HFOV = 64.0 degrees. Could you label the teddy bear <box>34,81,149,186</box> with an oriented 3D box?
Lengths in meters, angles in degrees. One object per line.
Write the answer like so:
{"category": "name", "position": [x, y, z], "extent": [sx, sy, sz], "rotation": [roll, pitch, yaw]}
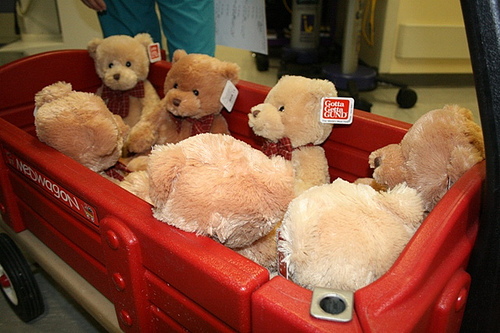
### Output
{"category": "teddy bear", "position": [-0.607, -0.126, 1.564], "extent": [0.383, 0.344, 0.306], "rotation": [-11, 31, -25]}

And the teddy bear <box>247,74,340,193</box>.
{"category": "teddy bear", "position": [0.157, -0.122, 1.522], "extent": [0.326, 0.461, 0.375], "rotation": [-12, 26, -26]}

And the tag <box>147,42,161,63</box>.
{"category": "tag", "position": [-0.448, -0.533, 1.863], "extent": [0.011, 0.084, 0.083], "rotation": [1, 19, 32]}

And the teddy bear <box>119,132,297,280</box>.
{"category": "teddy bear", "position": [-0.102, 0.028, 1.302], "extent": [0.494, 0.344, 0.635], "rotation": [-4, 14, -25]}

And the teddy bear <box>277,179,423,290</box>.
{"category": "teddy bear", "position": [0.253, 0.189, 1.022], "extent": [0.308, 0.143, 0.243], "rotation": [-29, 50, -20]}

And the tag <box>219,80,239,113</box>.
{"category": "tag", "position": [-0.084, -0.289, 1.600], "extent": [0.006, 0.077, 0.111], "rotation": [7, 61, 36]}

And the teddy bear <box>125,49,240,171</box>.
{"category": "teddy bear", "position": [-0.243, -0.168, 1.621], "extent": [0.362, 0.465, 0.352], "rotation": [-3, 3, 39]}
